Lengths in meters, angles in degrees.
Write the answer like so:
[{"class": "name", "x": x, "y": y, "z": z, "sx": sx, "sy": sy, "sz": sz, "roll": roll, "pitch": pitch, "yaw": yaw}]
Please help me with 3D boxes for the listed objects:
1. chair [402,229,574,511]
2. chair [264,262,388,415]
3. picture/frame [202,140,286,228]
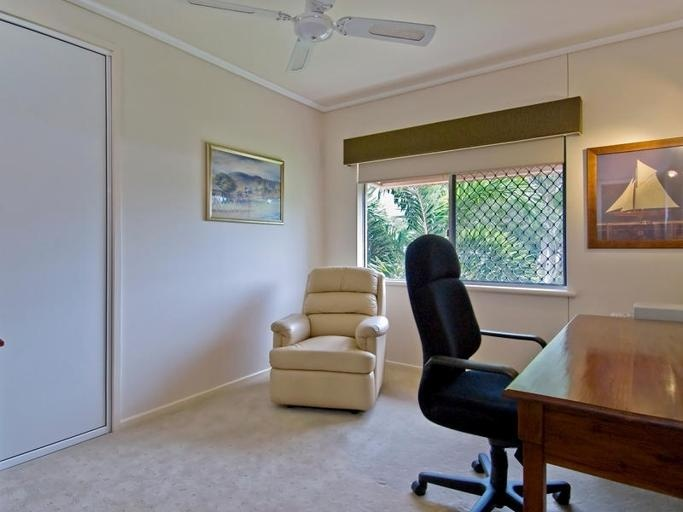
[{"class": "chair", "x": 0.950, "y": 0.719, "z": 3.729, "sx": 1.357, "sy": 2.339, "sz": 1.459, "roll": -3, "pitch": -4, "yaw": 28}, {"class": "chair", "x": -0.075, "y": 0.719, "z": 4.537, "sx": 0.996, "sy": 1.213, "sz": 1.291, "roll": 0, "pitch": 0, "yaw": 6}, {"class": "picture/frame", "x": -0.956, "y": -0.680, "z": 4.601, "sx": 0.034, "sy": 0.668, "sz": 0.853, "roll": 2, "pitch": 4, "yaw": 37}]
